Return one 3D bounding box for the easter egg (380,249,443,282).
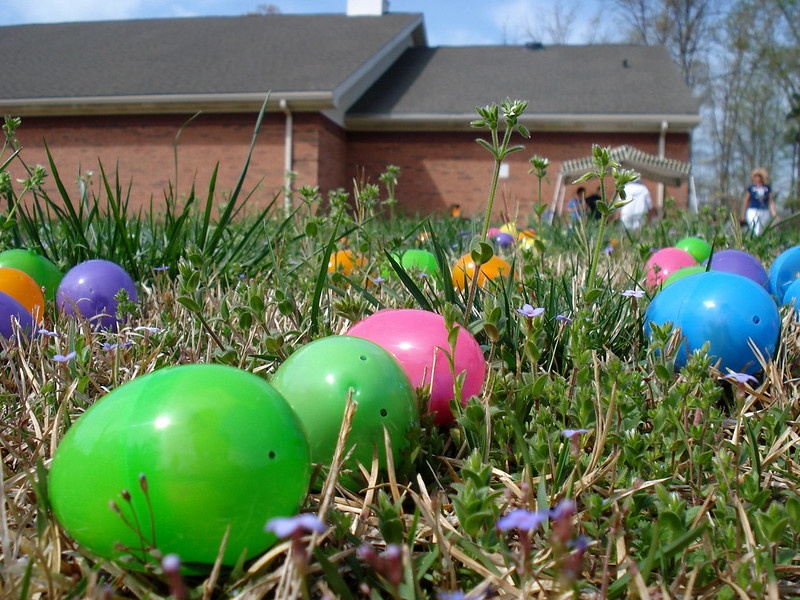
[{"bbox_3d":[0.050,-0.149,3.291,0.173,0.120,0.192,1,-1,17],"label":"easter egg"}]

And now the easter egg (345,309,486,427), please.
[{"bbox_3d":[0.050,0.156,2.224,0.352,0.267,0.275,8,7,15],"label":"easter egg"}]

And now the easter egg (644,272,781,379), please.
[{"bbox_3d":[1.080,0.063,2.684,0.347,0.400,0.439,4,-2,-5],"label":"easter egg"}]

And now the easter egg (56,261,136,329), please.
[{"bbox_3d":[-1.201,-0.016,2.946,0.305,0.256,0.324,-5,10,-18],"label":"easter egg"}]
